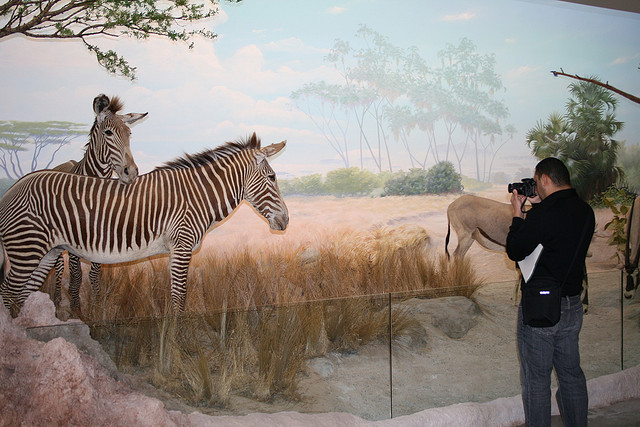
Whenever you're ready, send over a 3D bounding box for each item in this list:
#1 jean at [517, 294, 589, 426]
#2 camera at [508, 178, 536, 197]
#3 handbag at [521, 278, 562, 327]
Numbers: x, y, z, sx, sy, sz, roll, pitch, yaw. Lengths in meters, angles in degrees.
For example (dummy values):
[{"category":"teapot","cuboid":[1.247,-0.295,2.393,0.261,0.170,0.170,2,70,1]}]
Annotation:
[{"category":"jean","cuboid":[2.041,1.289,4.492,0.581,1.180,0.243,-2,1,-5]},{"category":"camera","cuboid":[1.878,-0.233,4.752,0.242,0.115,0.195,-2,1,30]},{"category":"handbag","cuboid":[1.911,0.816,4.418,0.370,0.465,0.198,-6,-32,35]}]
